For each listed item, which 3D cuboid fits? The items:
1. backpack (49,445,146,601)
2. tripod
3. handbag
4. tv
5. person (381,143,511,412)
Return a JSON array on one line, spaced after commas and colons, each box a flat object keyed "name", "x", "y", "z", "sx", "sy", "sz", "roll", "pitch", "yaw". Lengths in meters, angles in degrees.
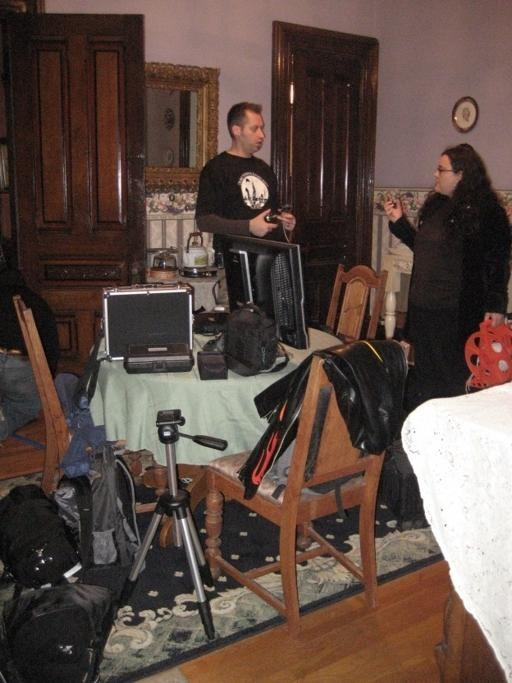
[{"name": "backpack", "x": -0.539, "y": 0.578, "z": 1.871, "sx": 0.255, "sy": 0.423, "sz": 0.369, "roll": -4, "pitch": -1, "yaw": -27}, {"name": "tripod", "x": -0.243, "y": 0.485, "z": 1.586, "sx": 0.258, "sy": 0.668, "sz": 0.447, "roll": 0, "pitch": 8, "yaw": -14}, {"name": "handbag", "x": 0.024, "y": -0.022, "z": 1.794, "sx": 0.216, "sy": 0.209, "sz": 0.240, "roll": -12, "pitch": 20, "yaw": -22}, {"name": "tv", "x": 0.006, "y": -0.195, "z": 1.847, "sx": 0.082, "sy": 0.340, "sz": 0.474, "roll": -20, "pitch": 27, "yaw": -27}, {"name": "person", "x": 0.993, "y": -0.296, "z": 2.823, "sx": 0.347, "sy": 1.430, "sz": 0.699, "roll": -5, "pitch": 11, "yaw": -40}]
